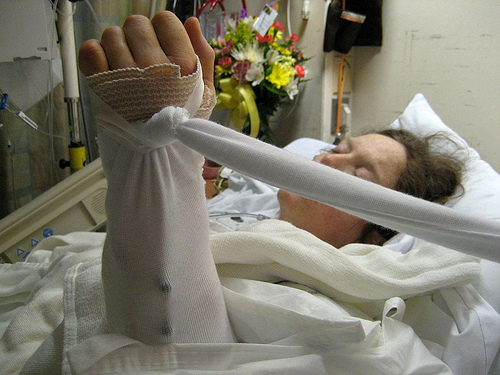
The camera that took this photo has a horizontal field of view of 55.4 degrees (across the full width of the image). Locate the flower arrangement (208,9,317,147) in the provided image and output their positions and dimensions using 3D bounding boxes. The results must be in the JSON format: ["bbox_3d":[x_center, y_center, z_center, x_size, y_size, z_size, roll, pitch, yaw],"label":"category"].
[{"bbox_3d":[0.091,-0.549,2.845,0.634,0.914,0.758,-2,11,-4],"label":"flower arrangement"}]
